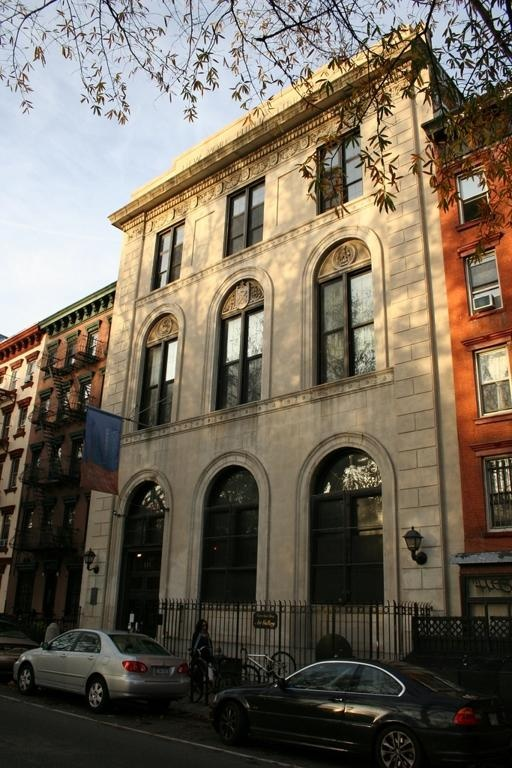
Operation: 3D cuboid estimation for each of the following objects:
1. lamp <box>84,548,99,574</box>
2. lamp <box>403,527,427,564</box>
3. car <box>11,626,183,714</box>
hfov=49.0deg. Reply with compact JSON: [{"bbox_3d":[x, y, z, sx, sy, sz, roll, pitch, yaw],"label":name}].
[{"bbox_3d":[-6.745,7.265,22.910,0.601,0.989,0.954,15,-26,-28],"label":"lamp"},{"bbox_3d":[3.773,3.909,13.382,0.477,0.781,0.561,-12,-27,31],"label":"lamp"},{"bbox_3d":[-3.126,5.630,11.241,4.423,1.283,1.678,-20,-32,41],"label":"car"}]
